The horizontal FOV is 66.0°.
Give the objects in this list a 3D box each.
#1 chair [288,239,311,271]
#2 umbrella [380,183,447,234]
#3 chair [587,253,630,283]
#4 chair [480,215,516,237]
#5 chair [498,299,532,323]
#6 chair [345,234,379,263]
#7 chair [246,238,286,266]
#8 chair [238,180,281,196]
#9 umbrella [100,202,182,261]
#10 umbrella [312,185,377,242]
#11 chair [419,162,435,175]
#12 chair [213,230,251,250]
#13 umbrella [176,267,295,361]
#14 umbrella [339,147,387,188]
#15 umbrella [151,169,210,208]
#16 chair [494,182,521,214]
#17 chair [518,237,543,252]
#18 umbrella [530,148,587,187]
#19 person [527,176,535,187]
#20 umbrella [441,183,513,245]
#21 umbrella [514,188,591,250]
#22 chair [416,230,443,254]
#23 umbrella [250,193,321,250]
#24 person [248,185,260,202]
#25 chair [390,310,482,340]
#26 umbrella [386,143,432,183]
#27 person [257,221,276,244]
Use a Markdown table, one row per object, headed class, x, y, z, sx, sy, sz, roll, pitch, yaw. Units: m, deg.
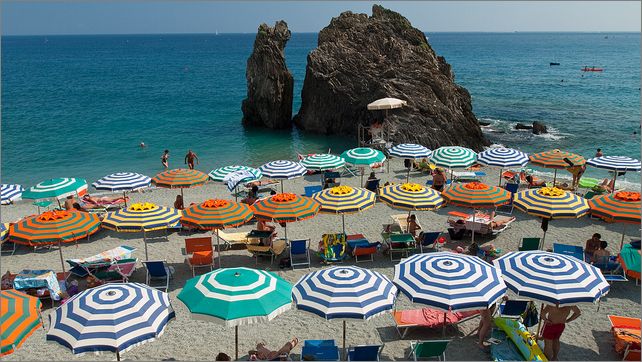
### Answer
| class | x | y | z | sx | sy | sz | roll | pitch | yaw |
| --- | --- | --- | --- | --- | --- | --- | --- | --- | --- |
| chair | -1.064 | 3.901 | 26.398 | 0.965 | 1.152 | 1.721 | -1 | 24 | -5 |
| umbrella | 4.921 | 1.478 | 27.708 | 3.134 | 2.575 | 3.010 | 13 | 24 | 25 |
| chair | 14.394 | 4.392 | 25.210 | 1.354 | 1.613 | 1.586 | -3 | 46 | 18 |
| chair | 9.798 | 2.503 | 28.097 | 1.628 | 0.542 | 1.177 | -21 | 17 | -36 |
| chair | 8.868 | 5.829 | 22.816 | 1.054 | 0.957 | 1.337 | -2 | 1 | 21 |
| chair | 2.076 | 3.375 | 26.841 | 1.236 | 0.975 | 2.522 | -4 | 19 | -12 |
| chair | -2.888 | 3.531 | 27.164 | 1.627 | 1.353 | 2.505 | -1 | 8 | 18 |
| chair | -4.099 | 0.203 | 33.807 | 0.800 | 0.416 | 2.515 | 33 | 29 | 32 |
| umbrella | -9.294 | 2.683 | 26.477 | 3.771 | 3.026 | 3.487 | 0 | 19 | 2 |
| umbrella | 1.205 | 1.662 | 27.486 | 3.302 | 2.660 | 3.035 | -8 | 24 | -5 |
| chair | 7.696 | -0.993 | 36.437 | 0.830 | 0.478 | 0.965 | 19 | 51 | 5 |
| chair | -4.977 | 3.275 | 27.783 | 1.841 | 0.734 | 0.835 | -8 | 57 | -4 |
| umbrella | -4.163 | 5.680 | 22.495 | 4.585 | 4.136 | 4.185 | -5 | 26 | -28 |
| umbrella | 2.728 | -1.281 | 32.023 | 2.632 | 1.406 | 2.568 | -10 | -17 | 37 |
| umbrella | -8.711 | 0.457 | 30.677 | 3.175 | 1.802 | 3.315 | -1 | 0 | 44 |
| chair | 11.666 | 1.141 | 31.087 | 0.935 | 2.844 | 1.102 | 10 | -12 | 36 |
| chair | 10.910 | 3.300 | 25.890 | 0.758 | 0.784 | 1.276 | -4 | -3 | 27 |
| umbrella | 15.525 | -1.079 | 32.756 | 2.882 | 1.744 | 2.813 | 10 | 19 | 40 |
| person | 13.842 | -0.044 | 32.948 | 0.268 | 0.777 | 0.323 | -10 | 6 | -2 |
| umbrella | 8.568 | 1.341 | 28.265 | 3.677 | 3.280 | 3.340 | -7 | 17 | 0 |
| umbrella | 11.945 | 2.135 | 26.401 | 3.525 | 3.432 | 3.213 | -1 | 21 | -1 |
| chair | 5.814 | 3.205 | 27.138 | 1.042 | 1.230 | 0.869 | 2 | 27 | 6 |
| umbrella | -1.935 | 1.770 | 26.919 | 3.478 | 2.058 | 3.293 | 3 | 18 | 12 |
| person | -4.061 | 0.703 | 30.620 | 0.714 | 0.884 | 0.368 | -2 | -3 | 15 |
| chair | 4.979 | 6.621 | 23.336 | 4.451 | 1.225 | 1.574 | 2 | 30 | -2 |
| umbrella | 6.199 | -1.066 | 34.363 | 3.162 | 3.030 | 2.970 | -3 | 13 | 12 |
| person | -3.015 | 2.848 | 27.076 | 0.824 | 0.529 | 1.156 | -8 | -17 | -3 |
